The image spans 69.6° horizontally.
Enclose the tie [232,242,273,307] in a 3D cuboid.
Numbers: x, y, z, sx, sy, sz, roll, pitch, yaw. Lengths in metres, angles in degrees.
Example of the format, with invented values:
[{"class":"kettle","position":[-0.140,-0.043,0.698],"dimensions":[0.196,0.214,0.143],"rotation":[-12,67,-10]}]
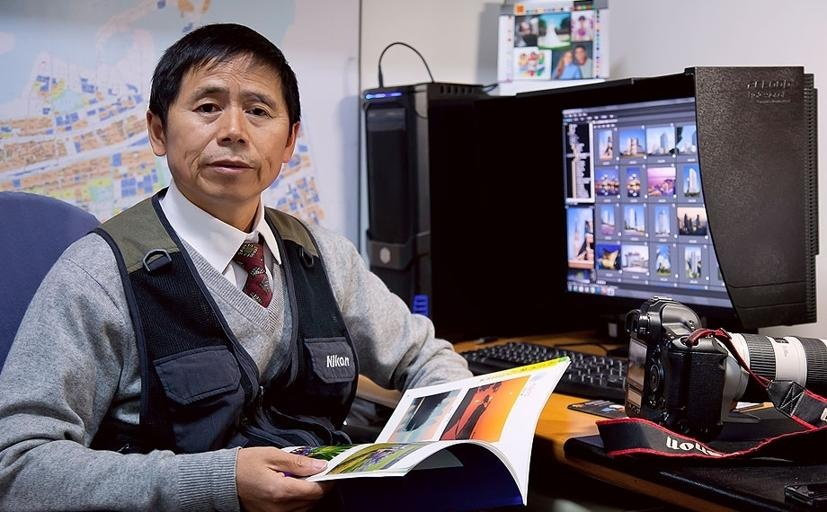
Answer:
[{"class":"tie","position":[-0.344,0.033,1.280],"dimensions":[0.090,0.134,0.036],"rotation":[-15,-22,-25]}]

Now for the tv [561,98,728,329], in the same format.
[{"class":"tv","position":[0.626,-0.133,1.579],"dimensions":[0.678,0.593,0.072],"rotation":[1,5,45]}]
